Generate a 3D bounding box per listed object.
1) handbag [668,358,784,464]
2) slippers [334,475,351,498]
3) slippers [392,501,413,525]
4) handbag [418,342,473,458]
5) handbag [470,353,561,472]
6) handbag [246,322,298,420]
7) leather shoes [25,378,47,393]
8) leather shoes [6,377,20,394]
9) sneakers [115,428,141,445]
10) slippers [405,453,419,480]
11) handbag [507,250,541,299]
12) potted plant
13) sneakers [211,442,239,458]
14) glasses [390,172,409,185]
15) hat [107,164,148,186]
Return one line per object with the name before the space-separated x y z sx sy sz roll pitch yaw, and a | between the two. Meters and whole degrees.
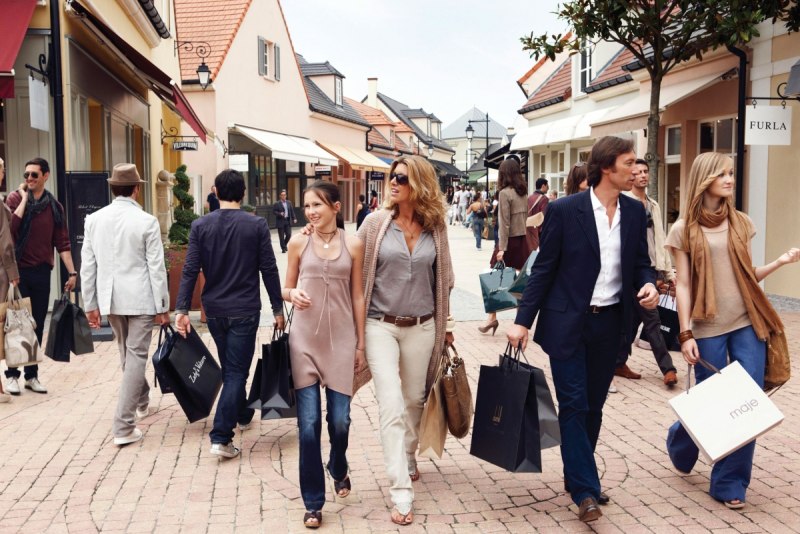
handbag | 2.277 1.016 4.841 0.770 0.669 0.172 -31 -24 -8
slippers | -0.445 1.670 5.226 0.114 0.156 0.099 -3 11 -11
slippers | 0.026 1.739 4.877 0.180 0.148 0.155 -3 10 -10
handbag | 0.338 1.048 5.247 0.468 0.970 1.035 0 5 6
handbag | 0.851 1.065 4.963 0.583 0.759 0.315 6 12 31
handbag | -1.040 0.920 5.410 0.349 0.936 0.903 -3 11 -13
leather shoes | -4.041 1.298 7.515 0.334 0.136 0.117 6 6 33
leather shoes | -4.239 1.303 7.419 0.101 0.112 0.287 -1 1 -33
sneakers | -2.472 1.523 6.192 0.097 0.104 0.235 14 14 22
slippers | 0.098 1.583 5.408 0.087 0.104 0.250 -2 -4 1
handbag | 1.341 0.088 7.341 0.192 0.453 0.478 32 43 -4
potted plant | -3.450 -0.550 11.071 0.787 2.485 0.722 2 4 9
sneakers | -1.505 1.564 5.875 0.104 0.121 0.275 17 -1 37
glasses | -0.005 -0.648 5.053 0.146 0.073 0.063 1 10 6
hat | -2.654 -0.862 6.686 0.362 0.172 0.459 3 10 -2
